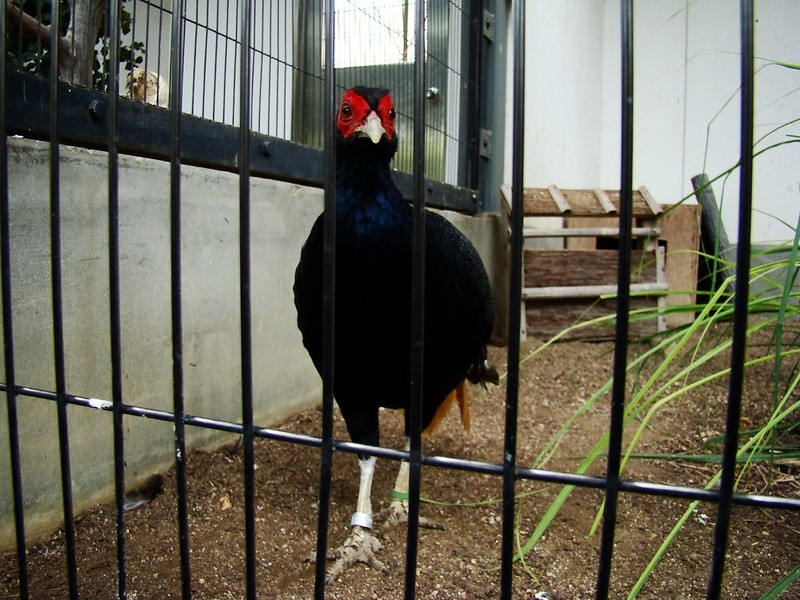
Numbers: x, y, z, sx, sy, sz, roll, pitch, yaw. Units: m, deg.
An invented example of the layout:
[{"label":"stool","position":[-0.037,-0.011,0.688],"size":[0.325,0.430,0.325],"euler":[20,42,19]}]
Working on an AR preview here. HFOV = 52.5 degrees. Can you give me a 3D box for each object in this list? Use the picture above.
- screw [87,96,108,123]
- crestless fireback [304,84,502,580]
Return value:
[{"label":"screw","position":[-1.453,-0.912,3.891],"size":[0.027,0.097,0.084],"euler":[9,47,41]},{"label":"crestless fireback","position":[0.054,0.050,4.410],"size":[0.858,2.554,1.983],"euler":[3,8,16]}]
